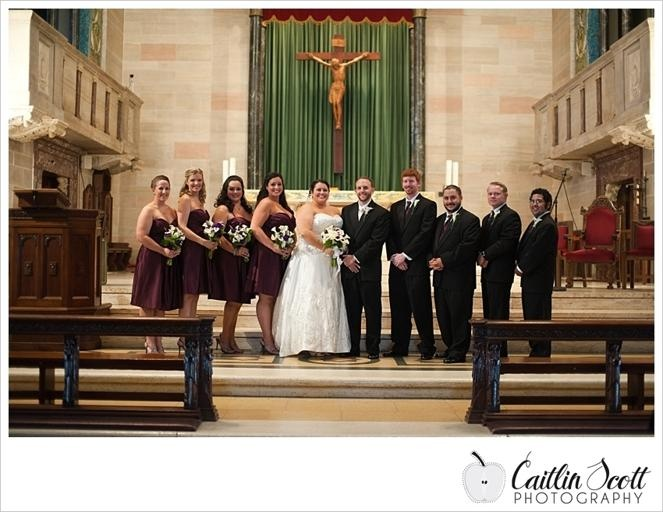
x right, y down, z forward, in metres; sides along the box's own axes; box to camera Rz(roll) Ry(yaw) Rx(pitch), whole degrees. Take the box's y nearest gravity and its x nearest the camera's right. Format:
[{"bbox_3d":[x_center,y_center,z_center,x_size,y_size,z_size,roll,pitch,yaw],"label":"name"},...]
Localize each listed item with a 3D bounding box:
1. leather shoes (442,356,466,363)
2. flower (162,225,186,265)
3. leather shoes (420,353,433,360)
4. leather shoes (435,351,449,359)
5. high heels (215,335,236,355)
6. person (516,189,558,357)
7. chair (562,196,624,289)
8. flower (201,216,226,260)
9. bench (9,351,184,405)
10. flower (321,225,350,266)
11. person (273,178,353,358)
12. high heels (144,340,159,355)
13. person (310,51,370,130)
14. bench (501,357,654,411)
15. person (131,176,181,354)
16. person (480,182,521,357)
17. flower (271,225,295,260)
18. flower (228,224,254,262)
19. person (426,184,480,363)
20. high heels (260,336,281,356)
[{"bbox_3d":[1.220,1.025,8.175,0.212,0.086,0.077,8,-7,-18],"label":"leather shoes"},{"bbox_3d":[-1.533,-0.105,8.065,0.201,0.389,0.294,1,-4,8],"label":"flower"},{"bbox_3d":[0.965,1.022,8.343,0.147,0.058,0.052,3,0,-4],"label":"leather shoes"},{"bbox_3d":[1.135,1.026,8.535,0.055,0.064,0.166,0,3,-21],"label":"leather shoes"},{"bbox_3d":[-1.084,0.931,8.588,0.113,0.163,0.330,2,-2,-36],"label":"high heels"},{"bbox_3d":[2.019,-0.033,8.123,0.402,1.294,0.424,0,-4,15],"label":"person"},{"bbox_3d":[3.654,-0.184,11.643,0.746,1.340,2.021,0,-4,16],"label":"chair"},{"bbox_3d":[-1.174,-0.175,8.221,0.214,0.390,0.313,2,-4,-8],"label":"flower"},{"bbox_3d":[-2.024,1.060,7.103,1.629,0.442,0.699,1,-4,2],"label":"bench"},{"bbox_3d":[0.042,-0.113,8.240,0.355,0.397,0.398,-1,4,5],"label":"flower"},{"bbox_3d":[-0.190,0.128,8.358,0.768,1.785,0.364,1,-4,-6],"label":"person"},{"bbox_3d":[-1.798,0.907,8.236,0.082,0.113,0.250,3,-14,-16],"label":"high heels"},{"bbox_3d":[0.093,-2.817,14.219,0.748,1.119,1.279,1,-4,-2],"label":"person"},{"bbox_3d":[2.256,1.097,7.177,1.143,0.428,1.793,-2,-6,37],"label":"bench"},{"bbox_3d":[-1.692,-0.094,8.111,0.414,1.355,0.493,-1,-4,31],"label":"person"},{"bbox_3d":[1.676,-0.051,8.249,0.408,1.342,0.442,0,-4,12],"label":"person"},{"bbox_3d":[-0.443,-0.133,8.299,0.305,0.301,0.292,2,-8,0],"label":"flower"},{"bbox_3d":[-0.926,-0.152,8.303,0.248,0.396,0.273,2,-4,-9],"label":"flower"},{"bbox_3d":[1.221,0.175,8.258,0.504,1.763,0.421,0,-4,17],"label":"person"},{"bbox_3d":[-0.657,0.954,8.538,0.094,0.135,0.301,3,-11,-31],"label":"high heels"}]
